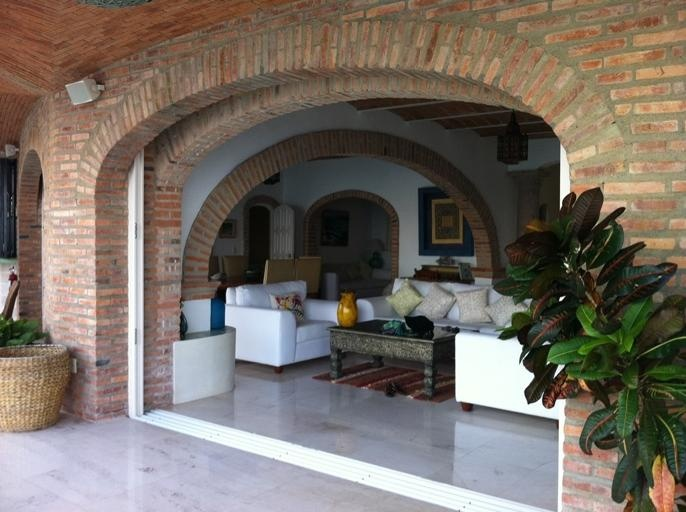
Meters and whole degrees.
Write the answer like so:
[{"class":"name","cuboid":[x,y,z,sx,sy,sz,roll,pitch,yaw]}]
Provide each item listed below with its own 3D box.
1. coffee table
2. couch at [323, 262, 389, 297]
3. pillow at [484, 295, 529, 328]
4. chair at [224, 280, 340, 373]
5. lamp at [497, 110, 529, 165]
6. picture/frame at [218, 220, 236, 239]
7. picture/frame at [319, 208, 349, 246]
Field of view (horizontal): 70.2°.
[{"class":"coffee table","cuboid":[0.727,0.957,5.777,1.224,0.492,0.863,2,6,34]},{"class":"couch","cuboid":[0.316,0.600,12.378,1.939,0.814,0.842,-3,6,-39]},{"class":"pillow","cuboid":[2.093,0.710,6.284,0.344,0.365,0.790,-1,-1,2]},{"class":"chair","cuboid":[-0.766,0.900,6.856,1.136,0.940,1.534,3,2,42]},{"class":"lamp","cuboid":[1.897,-1.357,5.460,0.299,0.539,0.507,-1,-1,18]},{"class":"picture/frame","cuboid":[-2.757,-0.652,11.370,0.103,0.462,0.501,-1,-1,36]},{"class":"picture/frame","cuboid":[-0.224,-0.753,12.996,1.038,0.937,0.113,5,8,37]}]
